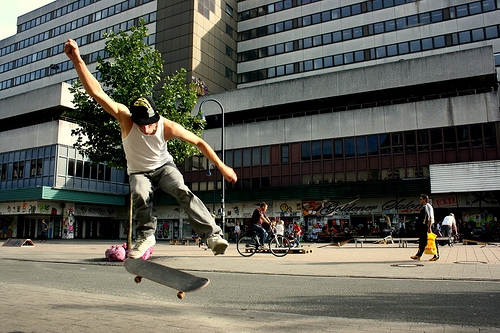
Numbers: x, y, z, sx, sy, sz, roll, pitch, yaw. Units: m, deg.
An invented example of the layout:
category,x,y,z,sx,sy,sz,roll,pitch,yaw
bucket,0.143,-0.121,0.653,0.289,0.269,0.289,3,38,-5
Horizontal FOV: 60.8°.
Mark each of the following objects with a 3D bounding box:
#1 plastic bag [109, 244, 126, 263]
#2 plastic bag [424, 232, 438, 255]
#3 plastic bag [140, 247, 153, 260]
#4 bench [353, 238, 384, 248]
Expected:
category,x,y,z,sx,sy,sz,roll,pitch,yaw
plastic bag,-6.067,3.989,19.545,0.736,0.693,0.413,3,-12,-23
plastic bag,7.623,3.278,18.248,0.449,0.955,0.755,-6,-12,23
plastic bag,-2.930,2.457,12.069,0.189,0.431,0.161,5,-44,23
bench,7.800,5.235,29.511,1.395,0.765,5.199,-4,-12,14
